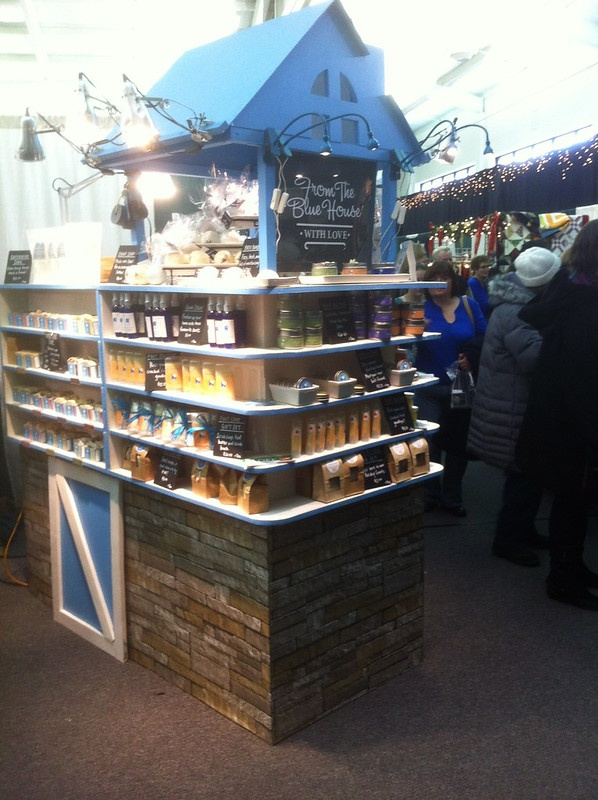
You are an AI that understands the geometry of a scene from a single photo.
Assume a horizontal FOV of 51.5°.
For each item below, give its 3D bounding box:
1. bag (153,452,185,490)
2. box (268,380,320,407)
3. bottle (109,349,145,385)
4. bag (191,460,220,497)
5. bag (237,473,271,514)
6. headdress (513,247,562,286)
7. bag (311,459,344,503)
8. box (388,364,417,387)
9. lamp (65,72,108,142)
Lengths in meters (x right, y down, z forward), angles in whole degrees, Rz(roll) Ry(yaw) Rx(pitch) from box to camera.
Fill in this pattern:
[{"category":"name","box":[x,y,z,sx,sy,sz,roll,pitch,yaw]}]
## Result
[{"category":"bag","box":[-0.508,0.278,2.413,0.169,0.160,0.061,7,0,44]},{"category":"box","box":[-0.015,-0.025,2.040,0.086,0.072,0.131,-3,6,-43]},{"category":"bottle","box":[-0.720,-0.134,2.598,0.163,0.135,0.090,5,4,42]},{"category":"bag","box":[-0.347,0.288,2.251,0.155,0.128,0.051,4,9,44]},{"category":"bag","box":[-0.149,0.307,2.019,0.074,0.130,0.108,-11,19,-31]},{"category":"headdress","box":[1.208,-0.679,3.153,0.178,0.231,0.138,10,-20,42]},{"category":"bag","box":[0.108,0.284,2.166,0.116,0.142,0.079,-3,7,-3]},{"category":"box","box":[0.412,-0.098,2.468,0.078,0.061,0.091,1,5,27]},{"category":"lamp","box":[-0.894,-1.218,2.599,0.152,0.254,0.447,-5,7,-17]}]
